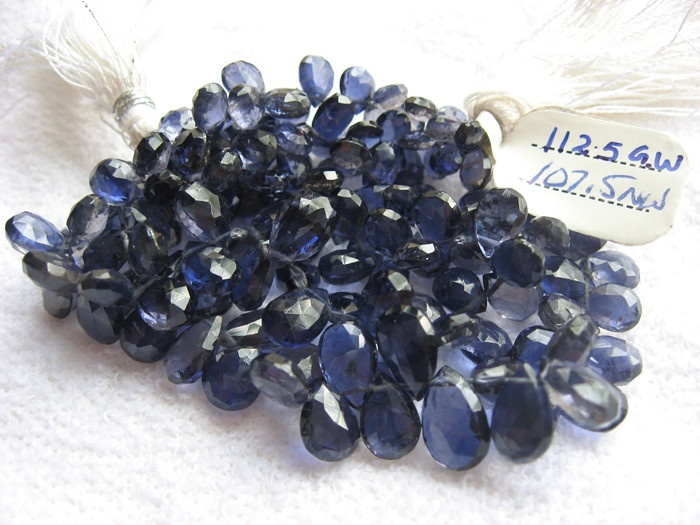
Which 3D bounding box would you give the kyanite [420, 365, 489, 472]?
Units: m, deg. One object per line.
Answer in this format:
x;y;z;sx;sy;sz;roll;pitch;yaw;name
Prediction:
0.106;0.159;0.784;0.070;0.094;0.030;-12;0;42;kyanite

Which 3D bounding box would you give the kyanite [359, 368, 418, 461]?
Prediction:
0.034;0.155;0.777;0.056;0.075;0.027;-11;-6;4;kyanite

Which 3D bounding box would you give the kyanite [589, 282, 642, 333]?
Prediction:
0.290;0.048;0.850;0.049;0.055;0.034;-3;-9;12;kyanite

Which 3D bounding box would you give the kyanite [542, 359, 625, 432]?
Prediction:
0.215;0.122;0.706;0.073;0.054;0.049;-1;32;-21;kyanite

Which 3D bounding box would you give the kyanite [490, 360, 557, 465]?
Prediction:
0.166;0.138;0.743;0.033;0.091;0.071;-7;10;-23;kyanite

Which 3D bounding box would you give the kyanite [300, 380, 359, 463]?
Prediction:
-0.019;0.165;0.790;0.062;0.060;0.043;14;30;5;kyanite
